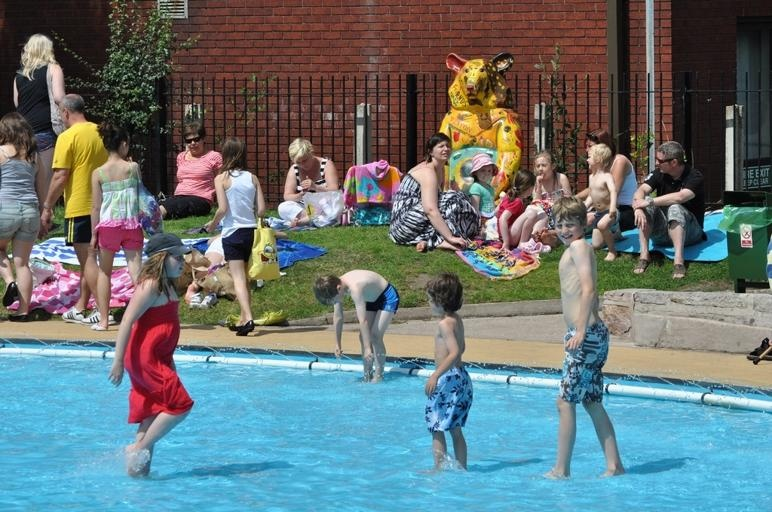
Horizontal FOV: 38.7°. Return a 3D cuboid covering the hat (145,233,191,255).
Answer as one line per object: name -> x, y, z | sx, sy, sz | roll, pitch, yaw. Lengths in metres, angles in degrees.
hat -> -2.005, -0.097, 10.011 | 0.288, 0.149, 0.221 | -2, 2, -6

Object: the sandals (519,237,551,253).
sandals -> 2.106, -0.110, 15.526 | 0.494, 0.230, 0.184 | 13, 4, -26

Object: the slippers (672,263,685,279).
slippers -> 3.903, 0.214, 14.565 | 0.166, 0.186, 0.209 | 0, 4, 16

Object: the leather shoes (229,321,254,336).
leather shoes -> -1.772, 0.896, 13.365 | 0.127, 0.156, 0.345 | 18, -23, -37

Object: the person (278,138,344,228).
person -> -1.099, -1.097, 16.610 | 1.020, 1.356, 1.050 | 3, 6, 39

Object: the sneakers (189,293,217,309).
sneakers -> -2.390, 0.601, 14.283 | 0.161, 0.129, 0.310 | 6, 1, 29

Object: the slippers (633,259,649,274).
slippers -> 3.449, 0.148, 14.804 | 0.181, 0.197, 0.257 | 0, 4, 20

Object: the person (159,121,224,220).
person -> -3.231, -1.276, 17.098 | 0.898, 1.478, 1.308 | 9, 13, 35

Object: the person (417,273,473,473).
person -> 0.578, 1.080, 10.105 | 0.404, 1.839, 0.390 | -1, 3, 4

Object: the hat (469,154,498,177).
hat -> 1.465, -1.335, 16.060 | 0.303, 0.177, 0.289 | -11, 3, -28

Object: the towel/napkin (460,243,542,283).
towel/napkin -> 1.583, 0.101, 15.170 | 0.638, 0.084, 0.653 | -8, 26, -18

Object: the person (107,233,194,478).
person -> -2.139, 0.923, 9.944 | 0.711, 2.235, 0.380 | -2, 3, -15

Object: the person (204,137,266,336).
person -> -1.900, -0.235, 13.660 | 0.819, 2.421, 0.806 | -2, 3, 10

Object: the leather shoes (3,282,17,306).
leather shoes -> -4.682, 0.490, 13.711 | 0.139, 0.322, 0.149 | 3, 30, -45

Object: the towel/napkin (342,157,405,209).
towel/napkin -> -0.202, -1.098, 17.035 | 1.149, 1.018, 0.414 | 1, 48, -1

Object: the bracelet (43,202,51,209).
bracelet -> -4.249, -0.623, 13.726 | 0.078, 0.082, 0.082 | 1, 2, -5

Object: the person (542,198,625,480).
person -> 1.815, 0.759, 10.000 | 0.670, 2.577, 0.466 | 0, 3, 12

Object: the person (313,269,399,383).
person -> -0.329, 0.783, 11.871 | 0.554, 1.230, 1.022 | 2, 5, 40
